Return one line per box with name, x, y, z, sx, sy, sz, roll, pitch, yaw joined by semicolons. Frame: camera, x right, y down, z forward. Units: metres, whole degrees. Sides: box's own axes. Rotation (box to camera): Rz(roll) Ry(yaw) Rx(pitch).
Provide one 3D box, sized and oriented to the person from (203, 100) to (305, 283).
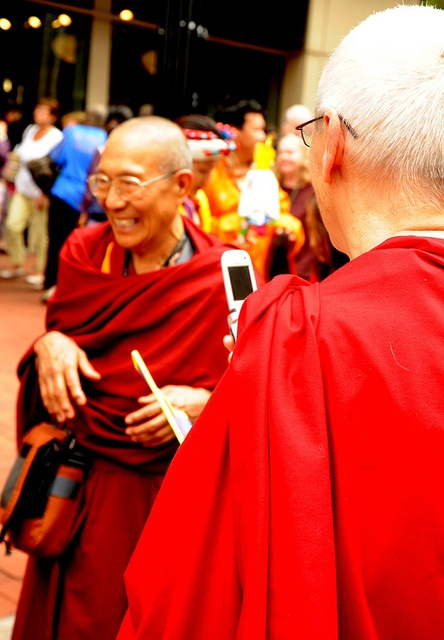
person;0.251;-0.766;4.492;0.701;1.551;0.496;-14;51;-3
